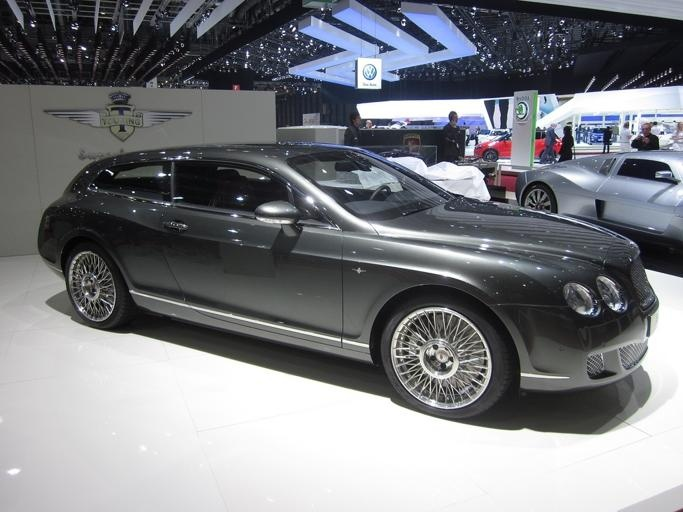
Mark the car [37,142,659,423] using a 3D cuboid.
[{"bbox_3d":[-0.462,-0.121,3.347,4.738,1.415,2.101,5,14,23],"label":"car"}]
